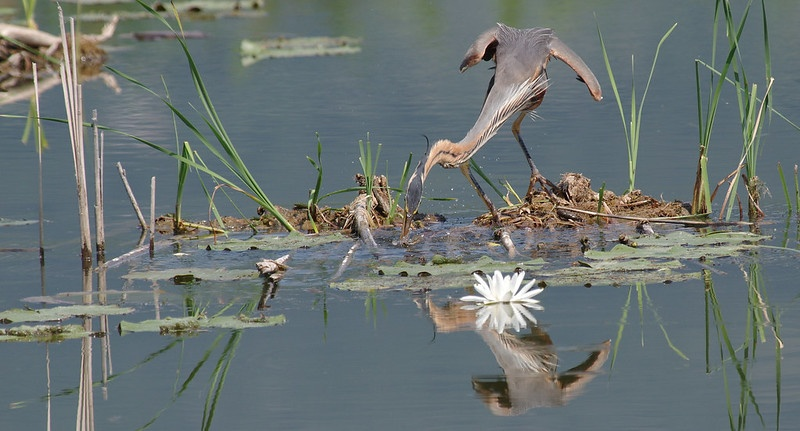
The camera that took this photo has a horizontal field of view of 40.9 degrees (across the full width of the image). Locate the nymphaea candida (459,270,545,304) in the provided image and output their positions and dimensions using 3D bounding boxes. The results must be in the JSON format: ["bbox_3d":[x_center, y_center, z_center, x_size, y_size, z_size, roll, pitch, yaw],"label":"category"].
[{"bbox_3d":[1.814,1.331,18.651,1.083,1.083,0.344,-5,100,-37],"label":"nymphaea candida"}]
